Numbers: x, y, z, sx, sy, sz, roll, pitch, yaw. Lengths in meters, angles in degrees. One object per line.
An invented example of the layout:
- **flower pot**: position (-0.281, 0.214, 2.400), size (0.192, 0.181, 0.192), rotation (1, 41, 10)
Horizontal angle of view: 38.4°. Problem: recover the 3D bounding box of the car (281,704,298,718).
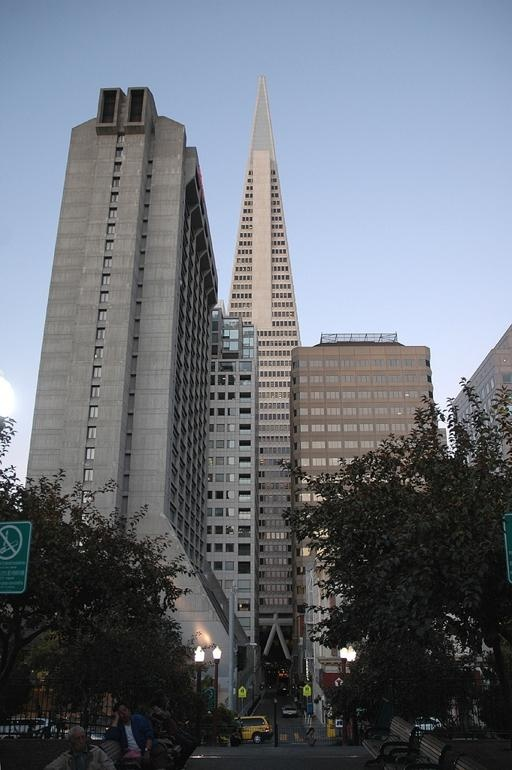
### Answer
- **car**: position (3.635, 34.936, 78.041), size (1.704, 1.408, 3.121), rotation (0, -8, 3)
